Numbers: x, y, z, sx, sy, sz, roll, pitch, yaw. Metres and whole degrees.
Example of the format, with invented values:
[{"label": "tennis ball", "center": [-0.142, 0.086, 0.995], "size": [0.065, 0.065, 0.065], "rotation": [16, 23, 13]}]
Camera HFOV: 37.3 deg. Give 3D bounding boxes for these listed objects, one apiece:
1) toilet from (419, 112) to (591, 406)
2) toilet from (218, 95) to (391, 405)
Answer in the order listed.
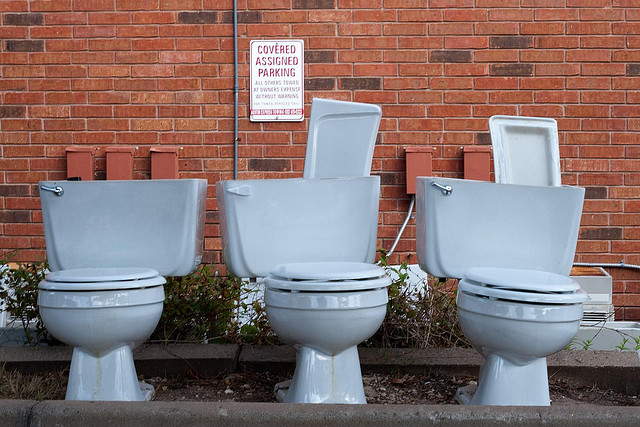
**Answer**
[{"label": "toilet", "center": [1.076, 0.278, 5.631], "size": [0.966, 1.707, 0.683], "rotation": [1, 6, 7]}, {"label": "toilet", "center": [-0.084, 0.211, 5.588], "size": [0.938, 1.773, 0.722], "rotation": [0, 6, -5]}]
